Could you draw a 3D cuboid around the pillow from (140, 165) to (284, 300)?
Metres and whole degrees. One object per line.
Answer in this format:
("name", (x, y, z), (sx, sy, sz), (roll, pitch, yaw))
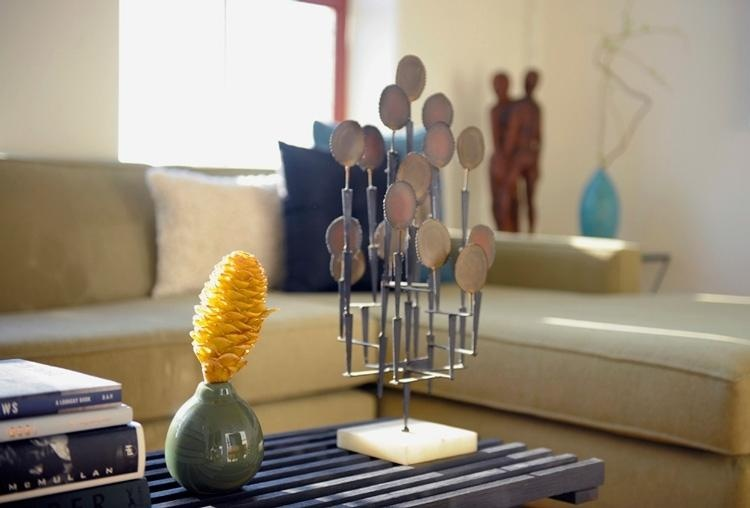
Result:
("pillow", (-0.589, -0.067, 2.463), (0.423, 0.453, 0.142), (2, -9, -35))

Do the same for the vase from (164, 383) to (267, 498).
("vase", (-0.329, 0.386, 1.490), (0.189, 0.238, 0.203), (1, 4, -20))

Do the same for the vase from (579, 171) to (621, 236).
("vase", (1.127, -0.239, 3.522), (0.158, 0.437, 0.173), (9, -21, -1))

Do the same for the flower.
("flower", (-0.298, 0.126, 1.464), (0.163, 0.279, 0.144), (-2, 11, -12))
